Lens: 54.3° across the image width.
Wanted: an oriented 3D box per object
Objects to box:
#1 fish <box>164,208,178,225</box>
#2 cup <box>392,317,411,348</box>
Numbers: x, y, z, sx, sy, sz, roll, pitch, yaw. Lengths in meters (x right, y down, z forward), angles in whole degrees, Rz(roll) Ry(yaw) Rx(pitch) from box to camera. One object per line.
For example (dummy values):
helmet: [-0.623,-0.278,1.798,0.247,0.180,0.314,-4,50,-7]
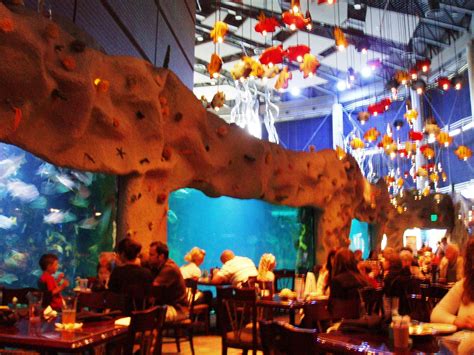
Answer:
fish: [-1.295,0.757,9.001,0.152,0.291,0.332,-1,-5,20]
cup: [1.181,1.109,3.318,0.114,0.226,0.171,-1,-5,20]
